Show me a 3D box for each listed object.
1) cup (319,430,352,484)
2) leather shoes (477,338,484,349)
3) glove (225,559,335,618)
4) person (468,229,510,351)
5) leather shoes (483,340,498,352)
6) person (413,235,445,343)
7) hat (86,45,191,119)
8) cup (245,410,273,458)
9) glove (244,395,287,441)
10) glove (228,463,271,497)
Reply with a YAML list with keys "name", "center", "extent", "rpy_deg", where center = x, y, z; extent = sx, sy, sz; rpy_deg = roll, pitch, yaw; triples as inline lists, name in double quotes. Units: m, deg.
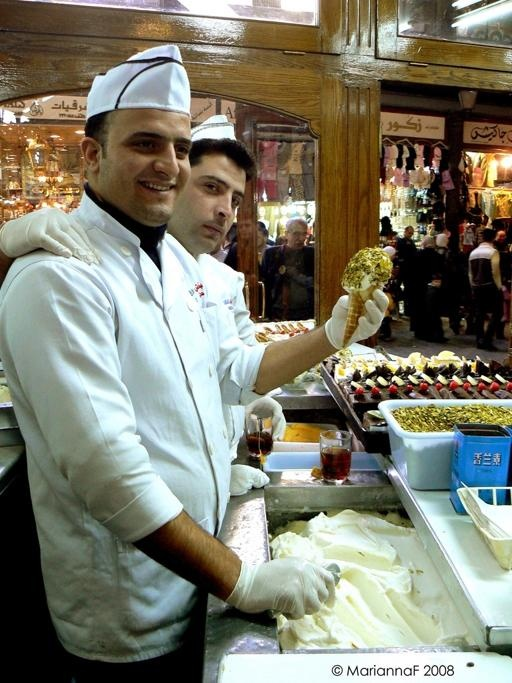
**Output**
- name: "cup"
  center: [0.273, 0.400, 1.900]
  extent: [0.116, 0.160, 0.112]
  rpy_deg: [1, -5, 0]
- name: "leather shoes"
  center: [3.575, 0.039, 8.717]
  extent: [0.129, 0.131, 0.122]
  rpy_deg: [1, -8, -2]
- name: "glove"
  center: [0.067, 0.494, 1.133]
  extent: [0.235, 0.078, 0.120]
  rpy_deg: [-19, -9, 24]
- name: "person"
  center: [3.786, -0.889, 8.998]
  extent: [0.543, 1.907, 1.303]
  rpy_deg: [2, 10, 23]
- name: "leather shoes"
  center: [3.714, 0.046, 8.693]
  extent: [0.201, 0.153, 0.392]
  rpy_deg: [2, 9, 22]
- name: "person"
  center: [2.943, -0.786, 9.242]
  extent: [0.488, 1.559, 0.618]
  rpy_deg: [1, 10, 16]
- name: "hat"
  center: [-0.271, -0.569, 1.225]
  extent: [0.281, 0.130, 0.193]
  rpy_deg: [13, 17, 38]
- name: "cup"
  center: [0.014, 0.371, 2.138]
  extent: [0.111, 0.162, 0.137]
  rpy_deg: [-1, 4, -8]
- name: "glove"
  center: [0.054, 0.323, 2.298]
  extent: [0.175, 0.183, 0.210]
  rpy_deg: [-2, -4, 0]
- name: "glove"
  center: [-0.030, 0.449, 1.773]
  extent: [0.096, 0.029, 0.091]
  rpy_deg: [2, 4, -26]
